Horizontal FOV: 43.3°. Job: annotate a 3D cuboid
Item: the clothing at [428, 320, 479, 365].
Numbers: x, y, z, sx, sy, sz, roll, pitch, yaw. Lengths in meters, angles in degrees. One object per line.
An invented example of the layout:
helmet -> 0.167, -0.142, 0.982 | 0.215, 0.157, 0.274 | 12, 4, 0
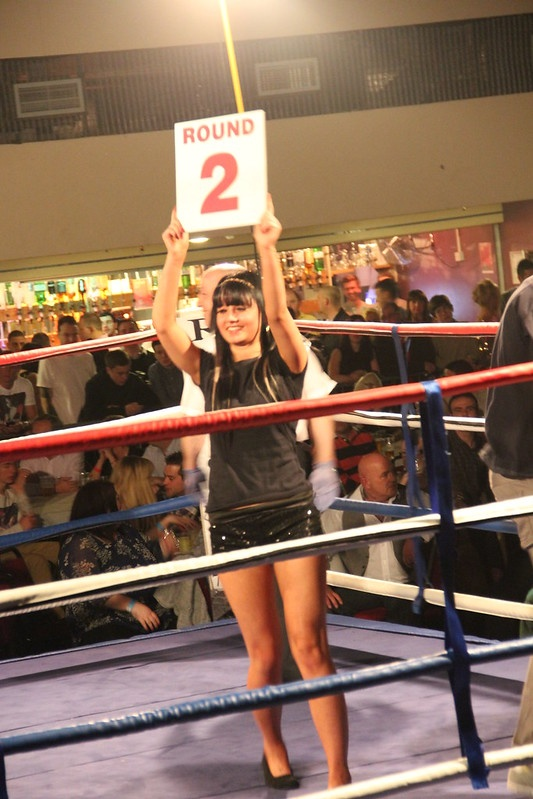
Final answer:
clothing -> 1.280, -0.351, 4.576 | 0.377, 0.341, 0.097 | 4, -4, -6

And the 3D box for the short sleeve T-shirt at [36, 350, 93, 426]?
short sleeve T-shirt -> -1.256, -0.072, 4.271 | 0.391, 0.472, 0.169 | -9, 8, -38

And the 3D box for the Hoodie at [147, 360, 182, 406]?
Hoodie -> -0.623, -0.097, 4.172 | 0.224, 0.280, 0.098 | -6, -9, -7

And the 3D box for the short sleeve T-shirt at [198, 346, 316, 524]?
short sleeve T-shirt -> -0.034, 0.058, 1.510 | 0.237, 0.404, 0.145 | -5, 13, 1

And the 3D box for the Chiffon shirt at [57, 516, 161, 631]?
Chiffon shirt -> -0.752, 0.808, 3.222 | 0.344, 0.493, 0.572 | 1, 5, 19
